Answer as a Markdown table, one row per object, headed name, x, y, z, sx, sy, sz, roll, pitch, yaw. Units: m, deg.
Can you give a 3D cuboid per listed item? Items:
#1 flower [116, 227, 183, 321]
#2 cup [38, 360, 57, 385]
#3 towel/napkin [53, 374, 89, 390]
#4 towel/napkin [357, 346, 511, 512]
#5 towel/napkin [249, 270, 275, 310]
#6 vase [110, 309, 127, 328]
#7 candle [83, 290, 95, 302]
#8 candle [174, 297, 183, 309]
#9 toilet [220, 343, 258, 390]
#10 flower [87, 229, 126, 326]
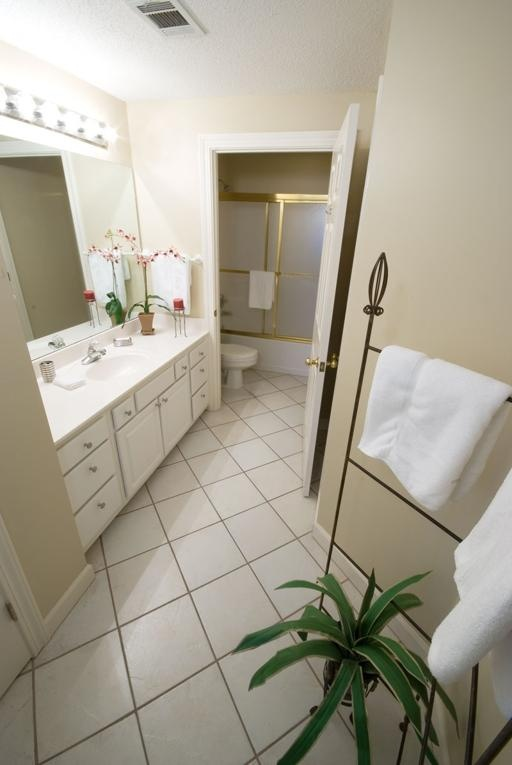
| name | x | y | z | sx | sy | sz | roll | pitch | yaw |
| --- | --- | --- | --- | --- | --- | --- | --- | --- | --- |
| flower | -0.704 | -0.739 | 2.767 | 0.413 | 0.382 | 0.157 | 19 | 35 | 17 |
| cup | -0.969 | -0.053 | 1.950 | 0.095 | 0.101 | 0.051 | 7 | 21 | 7 |
| towel/napkin | -0.858 | 0.006 | 1.919 | 0.148 | 0.029 | 0.096 | 4 | 25 | -3 |
| towel/napkin | 0.360 | 0.089 | 0.917 | 0.083 | 0.302 | 0.316 | -9 | 26 | -28 |
| towel/napkin | 0.052 | -0.887 | 3.961 | 0.201 | 0.348 | 0.124 | 9 | 38 | 10 |
| vase | -0.858 | -0.409 | 2.641 | 0.076 | 0.082 | 0.071 | -18 | 46 | -25 |
| candle | -0.922 | -0.479 | 2.341 | 0.041 | 0.062 | 0.055 | 3 | 18 | 6 |
| candle | -0.511 | -0.513 | 2.773 | 0.068 | 0.086 | 0.096 | 0 | 23 | -9 |
| toilet | -0.191 | -0.161 | 3.755 | 0.267 | 0.292 | 0.344 | -18 | 32 | -29 |
| flower | -0.878 | -0.636 | 2.524 | 0.269 | 0.458 | 0.103 | 11 | 16 | 41 |
